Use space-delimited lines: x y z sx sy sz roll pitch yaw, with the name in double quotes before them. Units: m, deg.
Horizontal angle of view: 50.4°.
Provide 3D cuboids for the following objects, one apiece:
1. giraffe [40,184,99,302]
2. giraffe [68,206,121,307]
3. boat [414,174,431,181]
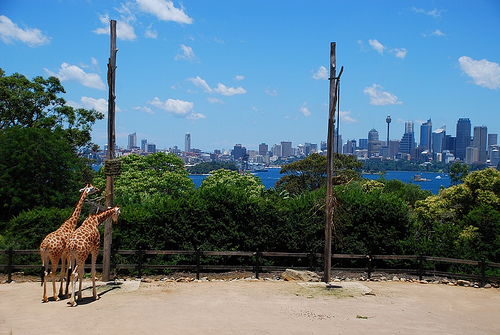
"giraffe" -8.787 3.571 25.664 2.318 5.590 1.976 1 -6 -6
"giraffe" -7.679 4.227 25.438 0.812 4.537 2.111 -2 -7 23
"boat" 73.698 4.451 227.733 6.641 2.378 2.201 2 3 24
